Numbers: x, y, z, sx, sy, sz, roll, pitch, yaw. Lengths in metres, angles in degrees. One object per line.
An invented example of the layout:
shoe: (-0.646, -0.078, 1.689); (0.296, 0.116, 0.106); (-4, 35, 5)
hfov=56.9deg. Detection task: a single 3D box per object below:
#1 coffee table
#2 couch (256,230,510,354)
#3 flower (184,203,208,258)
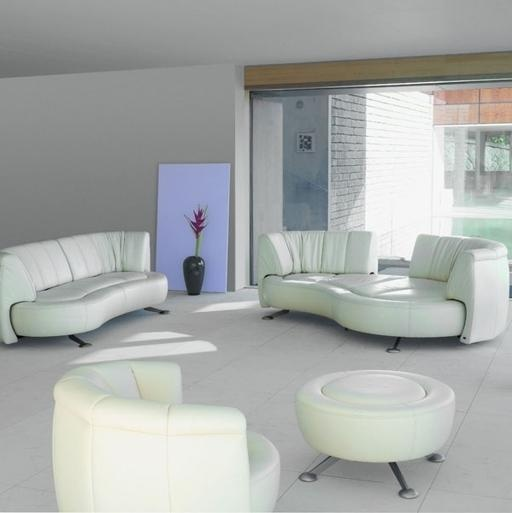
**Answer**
coffee table: (0.574, 0.847, 2.367); (0.753, 0.439, 0.801); (3, 3, 45)
couch: (1.316, 0.289, 5.171); (1.315, 1.136, 2.405); (-9, 8, -42)
flower: (-0.910, -0.363, 7.019); (0.379, 0.740, 0.342); (-2, 6, 14)
